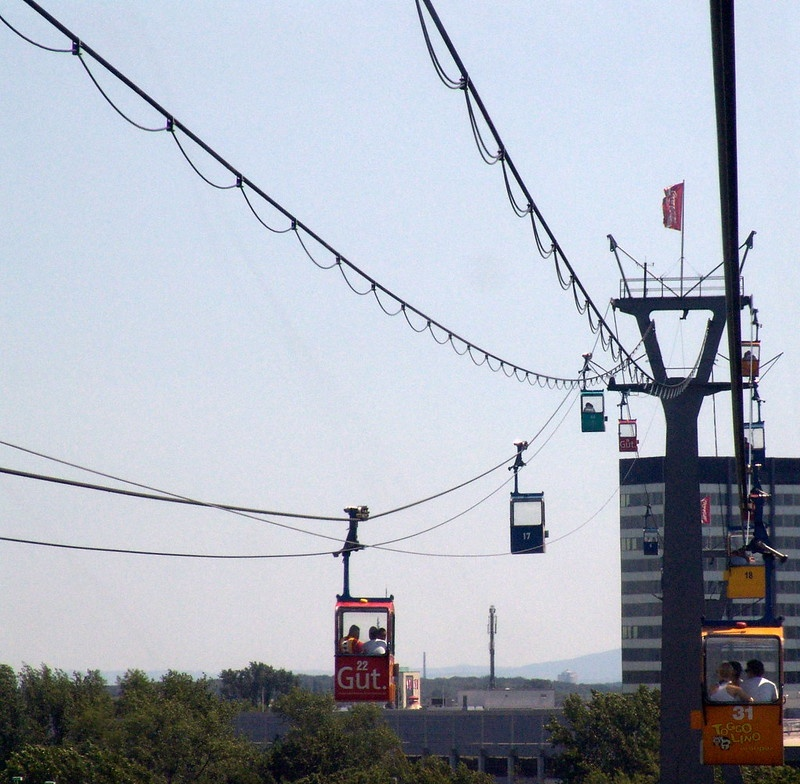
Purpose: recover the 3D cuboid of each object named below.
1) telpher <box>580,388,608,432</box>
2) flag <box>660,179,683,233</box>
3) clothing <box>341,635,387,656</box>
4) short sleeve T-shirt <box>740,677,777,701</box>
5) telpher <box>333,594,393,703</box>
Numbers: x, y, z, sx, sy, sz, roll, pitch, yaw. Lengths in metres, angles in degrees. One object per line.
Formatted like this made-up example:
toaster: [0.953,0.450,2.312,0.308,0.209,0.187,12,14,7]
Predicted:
telpher: [7.458,1.010,77.668,1.041,2.215,1.251,0,-8,2]
flag: [12.356,-7.998,91.033,1.211,0.525,3.574,17,-30,17]
clothing: [-1.495,10.547,83.227,1.855,0.722,0.114,2,-14,-3]
short sleeve T-shirt: [13.718,11.291,76.526,1.290,0.949,0.169,-3,-14,12]
telpher: [-1.538,10.729,84.260,2.134,4.906,2.457,1,-4,-14]
